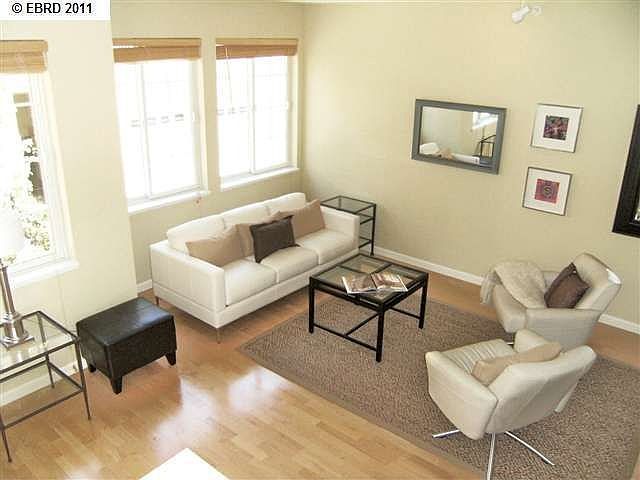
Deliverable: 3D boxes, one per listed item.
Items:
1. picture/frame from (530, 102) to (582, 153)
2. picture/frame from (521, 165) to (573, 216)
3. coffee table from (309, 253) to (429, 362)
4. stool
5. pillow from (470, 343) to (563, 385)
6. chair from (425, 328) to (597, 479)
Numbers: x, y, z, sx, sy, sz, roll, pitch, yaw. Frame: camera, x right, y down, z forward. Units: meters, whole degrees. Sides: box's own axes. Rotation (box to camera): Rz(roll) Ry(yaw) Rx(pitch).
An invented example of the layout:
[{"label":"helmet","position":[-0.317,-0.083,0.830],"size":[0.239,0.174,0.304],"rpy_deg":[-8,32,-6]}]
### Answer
[{"label":"picture/frame","position":[2.619,-1.246,5.247],"size":[0.509,0.496,0.050],"rpy_deg":[18,23,31]},{"label":"picture/frame","position":[2.608,-0.576,5.445],"size":[0.538,0.525,0.041],"rpy_deg":[15,29,30]},{"label":"coffee table","position":[0.437,0.473,5.183],"size":[1.113,0.814,1.126],"rpy_deg":[20,31,38]},{"label":"stool","position":[-1.723,0.874,4.380],"size":[0.769,0.632,0.834],"rpy_deg":[26,34,37]},{"label":"pillow","position":[1.540,0.964,3.685],"size":[0.681,0.272,0.266],"rpy_deg":[-6,21,-16]},{"label":"chair","position":[1.518,1.236,3.935],"size":[1.088,0.944,0.907],"rpy_deg":[-9,22,-22]}]
